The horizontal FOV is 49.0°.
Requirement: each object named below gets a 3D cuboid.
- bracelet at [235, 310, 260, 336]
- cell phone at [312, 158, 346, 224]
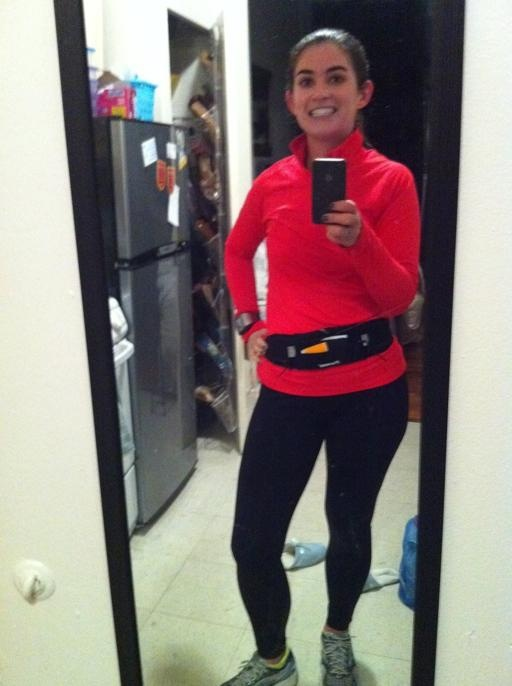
[{"bbox_3d":[-0.015,-0.034,0.925,0.031,0.026,0.042,2,21,29],"label":"bracelet"},{"bbox_3d":[0.104,-0.211,0.787,0.052,0.086,0.025,-3,15,-3],"label":"cell phone"}]
